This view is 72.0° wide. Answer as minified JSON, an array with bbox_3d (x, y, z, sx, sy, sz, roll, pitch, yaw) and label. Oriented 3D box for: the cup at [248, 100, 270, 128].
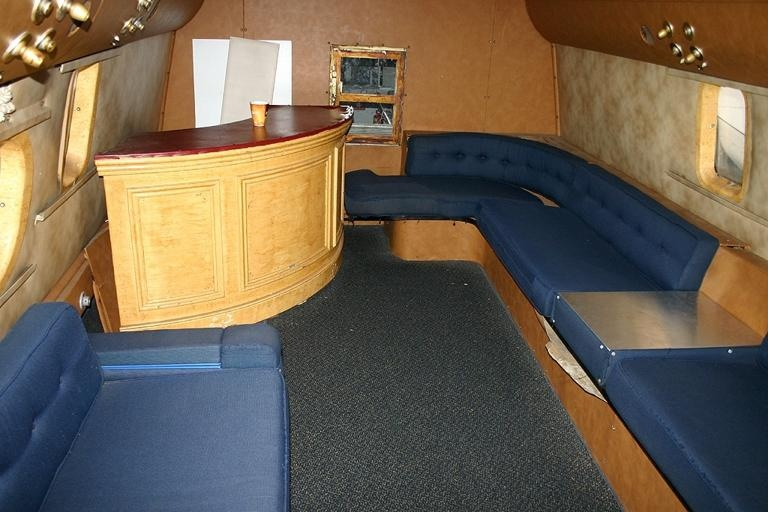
[{"bbox_3d":[-0.942,-1.088,4.126,0.230,0.239,0.222,2,12,-1],"label":"cup"}]
